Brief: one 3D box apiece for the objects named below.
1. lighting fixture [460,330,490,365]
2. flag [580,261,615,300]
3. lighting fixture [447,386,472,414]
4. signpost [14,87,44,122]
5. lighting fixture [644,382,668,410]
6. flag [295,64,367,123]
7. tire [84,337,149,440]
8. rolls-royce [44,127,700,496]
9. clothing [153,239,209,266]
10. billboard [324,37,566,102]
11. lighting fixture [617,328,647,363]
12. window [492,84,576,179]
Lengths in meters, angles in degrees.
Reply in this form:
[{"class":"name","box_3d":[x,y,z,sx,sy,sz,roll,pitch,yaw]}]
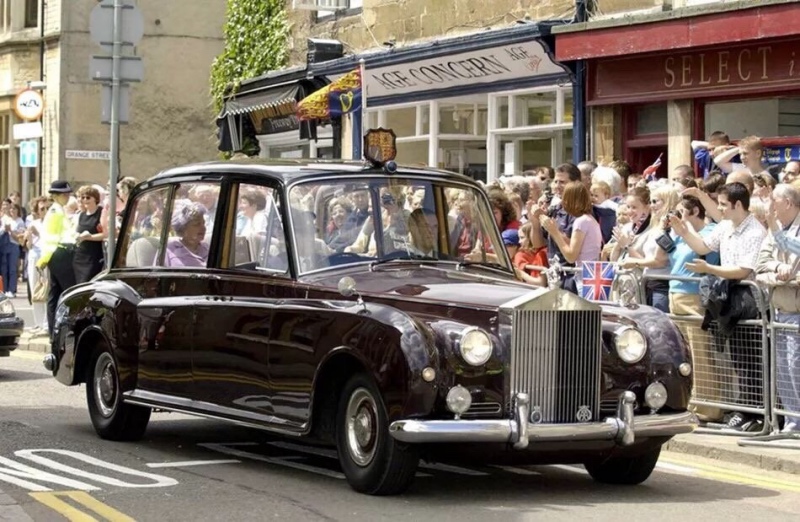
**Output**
[{"class":"lighting fixture","box_3d":[0.629,0.711,9.144,0.273,0.303,0.068,0,1,-19]},{"class":"flag","box_3d":[2.251,0.210,12.465,0.469,0.498,0.058,3,1,2]},{"class":"lighting fixture","box_3d":[0.479,1.136,9.080,0.232,0.204,0.122,-8,2,-34]},{"class":"signpost","box_3d":[-8.511,-3.622,25.061,0.520,0.632,0.450,0,1,-32]},{"class":"lighting fixture","box_3d":[2.235,1.164,9.613,0.238,0.221,0.046,10,-10,-35]},{"class":"flag","box_3d":[-1.228,-3.131,20.439,0.701,0.822,1.989,0,1,-18]},{"class":"tire","box_3d":[-2.904,1.310,11.312,0.426,1.136,1.140,3,-3,-43]},{"class":"rolls-royce","box_3d":[-0.579,0.498,10.825,5.678,2.366,3.106,0,-3,43]},{"class":"clothing","box_3d":[-2.173,-0.063,10.972,0.530,0.447,0.274,1,-19,-8]},{"class":"billboard","box_3d":[1.230,-3.970,21.682,6.898,0.921,0.542,-1,12,42]},{"class":"lighting fixture","box_3d":[2.022,0.736,9.567,0.312,0.283,0.070,4,-10,-22]},{"class":"window","box_3d":[2.522,-2.438,20.122,0.799,2.020,2.336,-4,5,-39]}]
